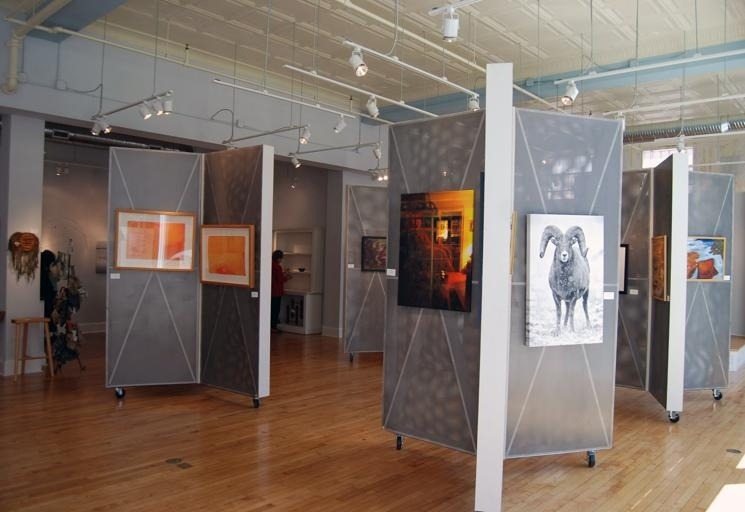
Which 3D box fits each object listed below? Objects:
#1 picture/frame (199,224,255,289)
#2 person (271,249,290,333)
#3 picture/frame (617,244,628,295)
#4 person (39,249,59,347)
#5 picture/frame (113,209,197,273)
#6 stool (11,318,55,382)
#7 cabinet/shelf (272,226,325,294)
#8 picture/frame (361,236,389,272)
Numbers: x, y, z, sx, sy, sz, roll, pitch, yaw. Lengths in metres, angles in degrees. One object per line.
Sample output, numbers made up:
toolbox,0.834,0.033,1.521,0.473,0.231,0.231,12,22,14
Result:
picture/frame,-2.334,-0.021,9.021,1.004,0.942,0.117,2,3,26
person,-2.399,0.888,14.482,0.427,2.130,1.155,1,7,-4
picture/frame,4.216,0.219,9.480,0.095,0.815,0.214,-1,7,-21
person,-6.292,0.598,10.824,0.384,1.992,0.118,8,22,-8
picture/frame,-3.562,-0.239,9.065,0.944,0.816,0.036,1,-5,-17
stool,-6.072,1.629,10.105,0.755,1.043,0.785,-2,-3,-14
cabinet/shelf,-2.034,0.124,14.851,1.187,1.702,0.375,2,2,5
picture/frame,0.006,-0.020,11.483,0.648,0.867,0.081,3,-6,-24
